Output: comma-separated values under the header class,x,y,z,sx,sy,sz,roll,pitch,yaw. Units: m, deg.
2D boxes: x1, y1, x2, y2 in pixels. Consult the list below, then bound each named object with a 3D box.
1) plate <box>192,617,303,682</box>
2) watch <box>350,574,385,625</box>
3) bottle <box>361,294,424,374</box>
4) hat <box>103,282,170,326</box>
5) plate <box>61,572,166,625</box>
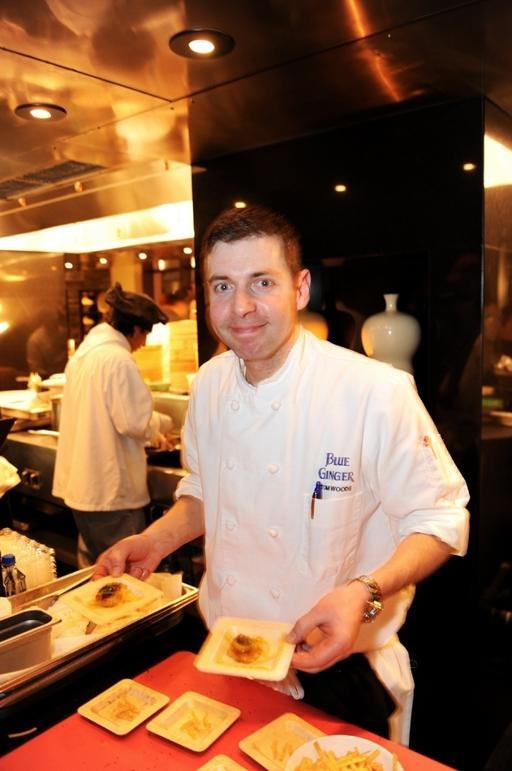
class,x,y,z,sx,sy,sz,roll,pitch,yaw
plate,-0.013,0.438,0.967,0.128,0.026,0.124,2,9,26
watch,0.195,0.368,1.005,0.049,0.073,0.035,-7,7,-27
bottle,0.486,-0.179,2.147,0.257,0.353,0.262,1,-1,0
hat,-0.632,-0.413,3.108,0.197,0.115,0.271,20,-11,42
plate,-0.313,0.475,1.305,0.131,0.040,0.137,5,6,41
